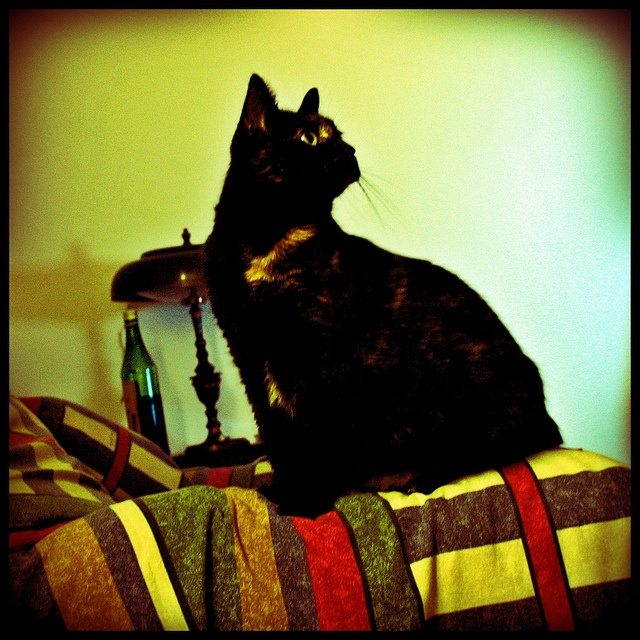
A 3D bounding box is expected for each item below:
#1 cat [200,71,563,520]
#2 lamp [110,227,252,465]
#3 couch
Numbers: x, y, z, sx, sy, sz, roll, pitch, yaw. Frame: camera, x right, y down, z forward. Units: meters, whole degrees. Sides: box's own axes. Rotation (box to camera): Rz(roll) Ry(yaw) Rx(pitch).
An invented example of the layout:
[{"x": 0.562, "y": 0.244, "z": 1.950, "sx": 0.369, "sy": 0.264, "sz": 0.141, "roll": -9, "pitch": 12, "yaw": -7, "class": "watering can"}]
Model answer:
[{"x": 0.125, "y": -0.062, "z": 1.583, "sx": 0.635, "sy": 0.920, "sz": 0.554, "roll": -12, "pitch": -3, "yaw": 3, "class": "cat"}, {"x": -0.330, "y": 0.065, "z": 1.783, "sx": 0.272, "sy": 0.543, "sz": 0.314, "roll": -4, "pitch": 8, "yaw": 14, "class": "lamp"}, {"x": -0.017, "y": 0.363, "z": 1.221, "sx": 1.077, "sy": 0.295, "sz": 0.306, "roll": -2, "pitch": 5, "yaw": 5, "class": "couch"}]
